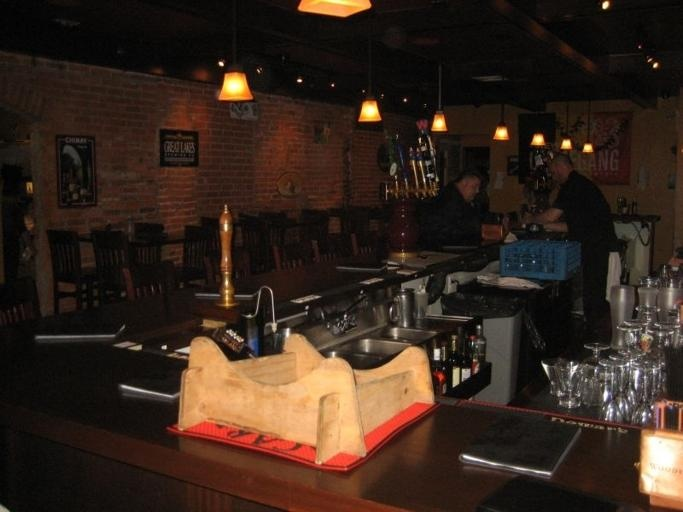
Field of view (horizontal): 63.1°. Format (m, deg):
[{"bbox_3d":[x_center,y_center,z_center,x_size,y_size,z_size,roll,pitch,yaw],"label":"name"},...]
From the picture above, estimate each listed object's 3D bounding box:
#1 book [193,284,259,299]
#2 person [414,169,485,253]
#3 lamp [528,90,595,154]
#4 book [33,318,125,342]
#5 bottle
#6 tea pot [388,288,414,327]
[{"bbox_3d":[-0.573,0.174,2.777,0.418,0.056,0.051,-3,24,46],"label":"book"},{"bbox_3d":[1.103,-0.511,5.634,0.625,0.626,1.192,2,13,9],"label":"person"},{"bbox_3d":[4.317,-2.470,10.690,1.104,1.062,2.073,6,14,23],"label":"lamp"},{"bbox_3d":[-1.173,0.322,2.517,0.390,0.030,0.298,-1,13,-7],"label":"book"},{"bbox_3d":[0.657,0.596,3.198,0.143,0.435,0.455,0,0,34],"label":"bottle"},{"bbox_3d":[0.377,0.307,3.452,0.158,0.218,0.192,1,13,5],"label":"tea pot"}]
